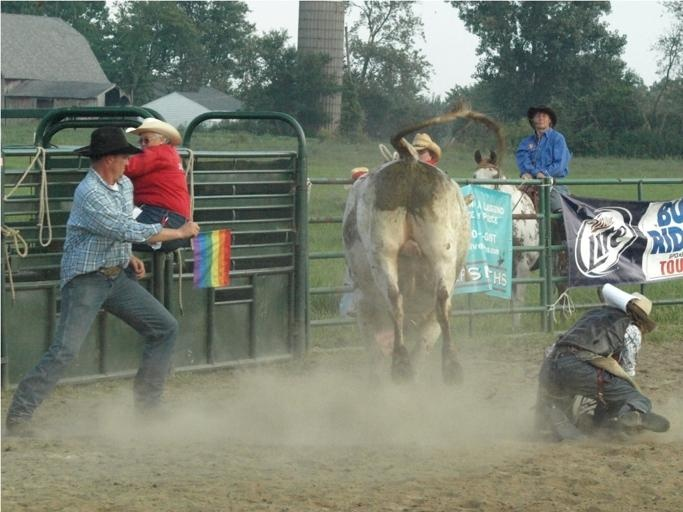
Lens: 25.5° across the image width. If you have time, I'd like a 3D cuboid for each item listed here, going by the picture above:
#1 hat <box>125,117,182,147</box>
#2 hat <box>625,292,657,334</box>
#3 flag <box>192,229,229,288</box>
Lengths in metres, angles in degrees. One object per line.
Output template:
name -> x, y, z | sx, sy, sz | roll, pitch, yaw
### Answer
hat -> -3.339, -2.208, 27.117 | 0.585, 0.165, 0.576 | 25, 10, 41
hat -> 5.307, 0.990, 26.645 | 0.237, 0.627, 0.491 | -41, 18, -6
flag -> -2.471, 0.084, 28.063 | 0.998, 1.330, 0.121 | -2, 3, -22
